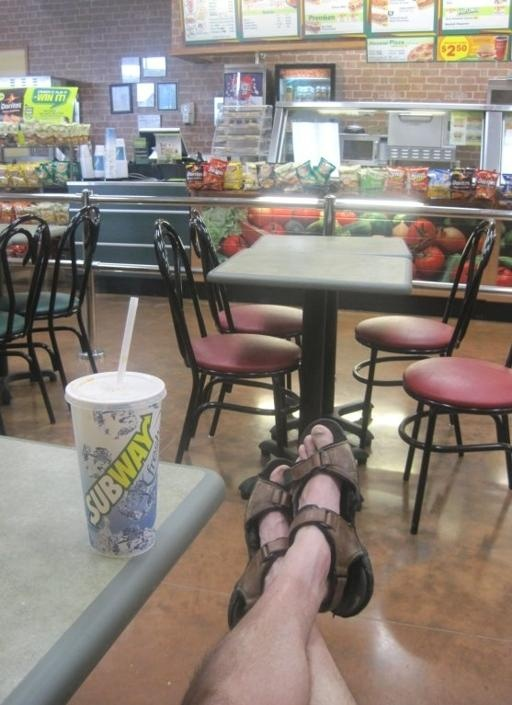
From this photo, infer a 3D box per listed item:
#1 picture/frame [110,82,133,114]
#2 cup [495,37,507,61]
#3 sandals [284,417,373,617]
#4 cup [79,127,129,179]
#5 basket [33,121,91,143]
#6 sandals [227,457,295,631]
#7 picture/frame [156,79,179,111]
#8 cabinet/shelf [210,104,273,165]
[{"bbox_3d":[-1.664,-3.173,6.980,0.358,0.389,0.030,11,31,12],"label":"picture/frame"},{"bbox_3d":[2.293,-2.829,5.260,0.091,0.186,0.201,10,17,31],"label":"cup"},{"bbox_3d":[0.109,0.234,0.943,0.121,0.097,0.355,-17,36,16],"label":"sandals"},{"bbox_3d":[-1.352,-1.729,4.954,0.400,0.417,0.501,-3,15,-16],"label":"cup"},{"bbox_3d":[-1.396,-1.564,4.050,0.257,0.080,0.201,-9,19,-34],"label":"basket"},{"bbox_3d":[0.018,0.282,0.900,0.102,0.076,0.280,3,59,7],"label":"sandals"},{"bbox_3d":[-1.064,-3.127,6.803,0.391,0.426,0.059,3,18,8],"label":"picture/frame"},{"bbox_3d":[-0.130,-2.209,5.648,0.685,0.596,0.597,6,15,17],"label":"cabinet/shelf"}]
